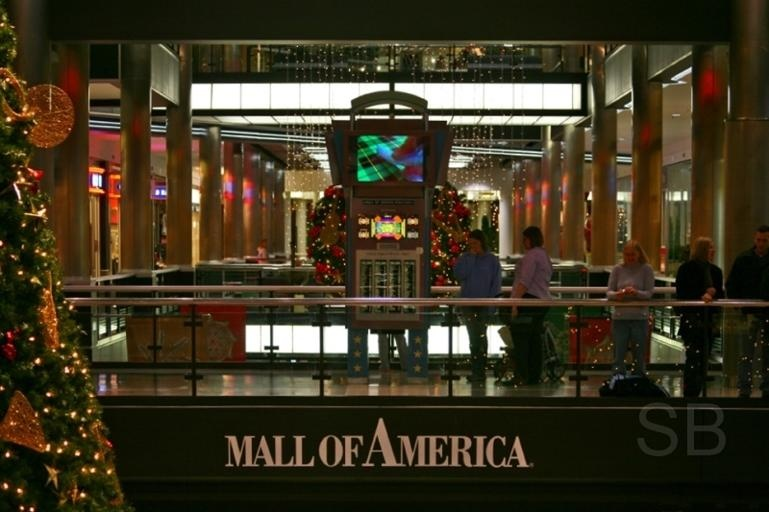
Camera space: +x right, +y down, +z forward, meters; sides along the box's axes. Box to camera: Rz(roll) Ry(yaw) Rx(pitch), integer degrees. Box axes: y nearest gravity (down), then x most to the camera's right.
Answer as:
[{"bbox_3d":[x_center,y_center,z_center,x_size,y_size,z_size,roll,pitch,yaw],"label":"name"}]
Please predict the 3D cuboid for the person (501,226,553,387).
[{"bbox_3d":[1.714,0.543,11.096,0.461,1.699,1.111,0,5,10],"label":"person"}]

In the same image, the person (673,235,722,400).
[{"bbox_3d":[3.595,0.683,10.841,0.509,1.748,0.653,1,5,20],"label":"person"}]

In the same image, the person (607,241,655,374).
[{"bbox_3d":[2.827,0.579,10.919,0.509,1.460,0.755,1,5,16],"label":"person"}]

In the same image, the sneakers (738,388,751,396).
[{"bbox_3d":[4.027,1.530,10.607,0.132,0.143,0.077,-1,-5,3],"label":"sneakers"}]

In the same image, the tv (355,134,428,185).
[{"bbox_3d":[0.056,-1.172,11.482,0.877,0.718,0.524,0,2,4],"label":"tv"}]

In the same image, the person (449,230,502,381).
[{"bbox_3d":[1.109,0.547,11.285,0.565,1.619,1.411,0,5,6],"label":"person"}]
